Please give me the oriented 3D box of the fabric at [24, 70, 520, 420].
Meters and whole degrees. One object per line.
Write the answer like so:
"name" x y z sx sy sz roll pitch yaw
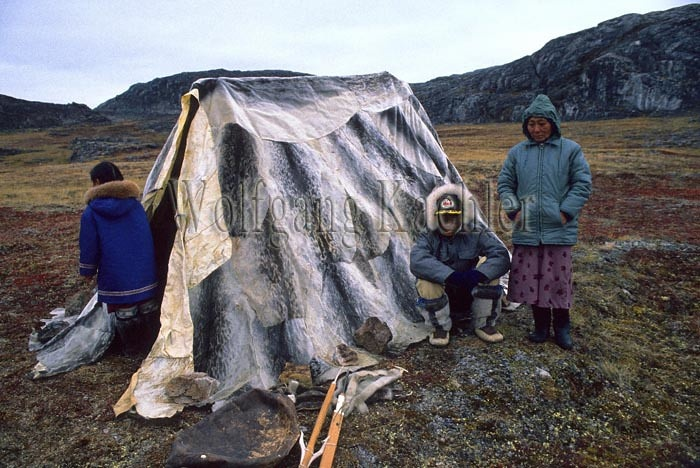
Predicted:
"fabric" -0.703 0.106 6.106 4.840 2.170 4.637 -24 21 -39

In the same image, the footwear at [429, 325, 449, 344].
"footwear" 1.131 1.315 5.661 0.218 0.223 0.173 -2 14 15

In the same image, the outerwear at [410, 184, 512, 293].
"outerwear" 1.380 0.018 5.703 1.208 1.371 1.034 -3 15 15

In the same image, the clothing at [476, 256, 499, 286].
"clothing" 1.727 0.482 5.558 0.238 0.245 0.248 -25 6 12

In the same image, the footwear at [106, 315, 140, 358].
"footwear" -3.011 1.334 5.879 0.297 0.550 0.382 15 -19 -19

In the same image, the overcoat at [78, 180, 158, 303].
"overcoat" -2.903 0.079 5.786 0.681 1.542 0.981 6 12 37

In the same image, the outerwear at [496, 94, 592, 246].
"outerwear" 2.332 -0.739 5.395 1.029 1.723 0.530 2 15 29

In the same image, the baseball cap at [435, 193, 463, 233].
"baseball cap" 1.194 -0.276 5.727 0.328 0.501 0.446 -3 19 8

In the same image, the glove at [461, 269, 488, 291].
"glove" 1.517 0.551 5.493 0.275 0.216 0.282 -22 23 -10
